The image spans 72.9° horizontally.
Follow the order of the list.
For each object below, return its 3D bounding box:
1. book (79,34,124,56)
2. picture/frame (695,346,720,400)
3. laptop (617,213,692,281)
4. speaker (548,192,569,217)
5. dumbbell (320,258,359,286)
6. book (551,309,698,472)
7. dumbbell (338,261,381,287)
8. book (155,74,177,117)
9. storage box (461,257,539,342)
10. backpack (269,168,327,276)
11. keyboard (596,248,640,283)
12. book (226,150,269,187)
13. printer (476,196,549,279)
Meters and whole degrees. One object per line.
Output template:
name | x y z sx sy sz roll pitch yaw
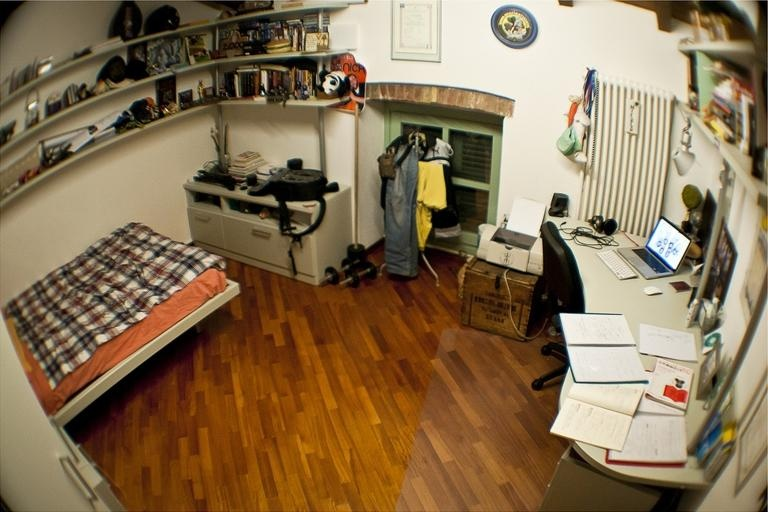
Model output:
book | -0.791 -0.587 1.456 0.112 0.045 0.020 -14 28 -30
picture/frame | 1.265 0.461 2.031 0.019 0.135 0.189 13 -3 22
laptop | 1.389 0.021 2.765 0.291 0.265 0.360 -11 40 2
speaker | 1.057 -0.307 3.122 0.131 0.163 0.124 4 10 19
dumbbell | -0.302 0.107 3.602 0.138 0.137 0.247 -2 7 35
book | 0.929 0.521 2.009 0.472 0.100 0.689 10 46 14
dumbbell | -0.185 0.119 3.663 0.145 0.136 0.320 40 35 21
book | -0.673 -0.498 1.597 0.014 0.109 0.081 13 30 17
storage box | 0.768 0.211 3.299 0.449 0.422 0.476 14 16 24
backpack | -0.563 -0.267 3.444 0.356 0.571 0.166 5 8 39
keyboard | 1.241 0.086 2.750 0.105 0.021 0.273 -14 35 2
book | -0.949 -0.634 3.592 0.223 0.100 0.229 12 32 24
printer | 0.776 -0.104 3.091 0.427 0.282 0.446 12 40 29
